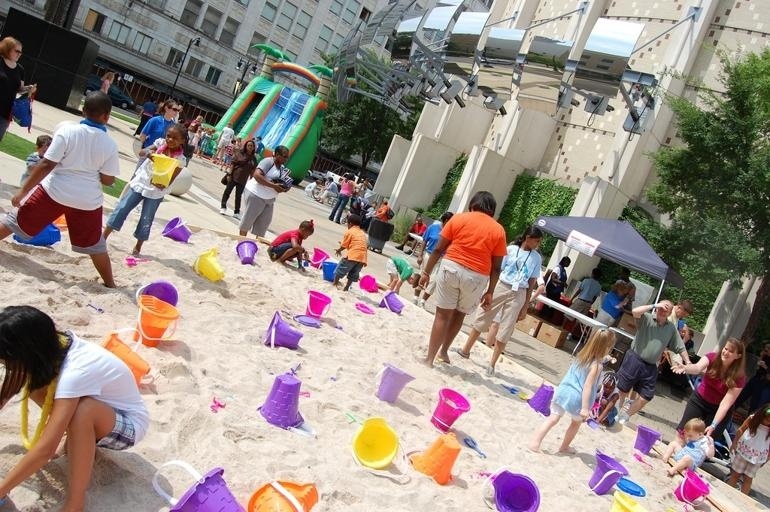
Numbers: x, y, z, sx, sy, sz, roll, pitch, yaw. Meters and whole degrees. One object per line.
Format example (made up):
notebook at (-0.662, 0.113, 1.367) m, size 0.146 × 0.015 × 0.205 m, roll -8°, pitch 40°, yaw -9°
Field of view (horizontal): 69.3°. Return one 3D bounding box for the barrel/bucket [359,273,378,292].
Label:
barrel/bucket at (-0.318, 0.544, 10.973) m, size 0.290 × 0.334 × 0.238 m, roll -10°, pitch 6°, yaw 6°

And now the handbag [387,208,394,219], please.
handbag at (0.162, -1.478, 19.862) m, size 0.134 × 0.379 × 0.259 m, roll 7°, pitch 3°, yaw -9°

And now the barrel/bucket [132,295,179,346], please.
barrel/bucket at (-2.669, 0.767, 6.465) m, size 0.477 × 0.444 × 0.451 m, roll 19°, pitch 5°, yaw -2°

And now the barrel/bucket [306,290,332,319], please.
barrel/bucket at (-1.040, 0.714, 8.625) m, size 0.383 × 0.317 × 0.395 m, roll 22°, pitch -3°, yaw 1°

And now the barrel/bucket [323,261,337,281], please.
barrel/bucket at (-1.044, 0.288, 10.465) m, size 0.309 × 0.325 × 0.323 m, roll 0°, pitch 4°, yaw 0°

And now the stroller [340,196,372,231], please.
stroller at (-0.945, -1.669, 20.299) m, size 1.091 × 1.729 × 1.367 m, roll 2°, pitch -4°, yaw -15°

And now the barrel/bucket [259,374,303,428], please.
barrel/bucket at (-1.066, 1.535, 5.987) m, size 0.475 × 0.510 × 0.247 m, roll 18°, pitch 4°, yaw -12°

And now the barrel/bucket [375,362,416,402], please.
barrel/bucket at (0.133, 1.581, 7.230) m, size 0.446 × 0.425 × 0.457 m, roll 28°, pitch 7°, yaw -4°

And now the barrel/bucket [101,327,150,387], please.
barrel/bucket at (-2.704, 1.065, 5.830) m, size 0.571 × 0.414 × 0.242 m, roll 21°, pitch 5°, yaw 9°

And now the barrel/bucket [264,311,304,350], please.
barrel/bucket at (-1.324, 1.005, 7.399) m, size 0.522 × 0.588 × 0.455 m, roll 8°, pitch 12°, yaw -6°

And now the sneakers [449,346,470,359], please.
sneakers at (1.231, 1.625, 9.386) m, size 0.293 × 0.121 × 0.137 m, roll 30°, pitch -9°, yaw 21°

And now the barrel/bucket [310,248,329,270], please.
barrel/bucket at (-1.362, 0.036, 11.269) m, size 0.343 × 0.317 × 0.402 m, roll 30°, pitch 14°, yaw 8°

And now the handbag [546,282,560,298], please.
handbag at (4.275, 0.876, 14.240) m, size 0.338 × 0.489 × 0.264 m, roll -1°, pitch 6°, yaw 4°

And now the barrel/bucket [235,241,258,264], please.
barrel/bucket at (-2.380, -0.098, 9.602) m, size 0.342 × 0.367 × 0.263 m, roll 0°, pitch 37°, yaw -17°

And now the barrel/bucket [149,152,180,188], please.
barrel/bucket at (-3.174, -1.245, 8.115) m, size 0.413 × 0.452 × 0.439 m, roll 9°, pitch 7°, yaw -1°

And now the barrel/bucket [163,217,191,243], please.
barrel/bucket at (-3.486, -0.378, 9.433) m, size 0.316 × 0.398 × 0.430 m, roll 38°, pitch -25°, yaw -25°

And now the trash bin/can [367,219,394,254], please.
trash bin/can at (-0.196, -0.640, 18.037) m, size 0.738 × 1.082 × 0.735 m, roll 13°, pitch 19°, yaw -9°

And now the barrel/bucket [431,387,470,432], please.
barrel/bucket at (0.801, 1.929, 6.953) m, size 0.362 × 0.535 × 0.333 m, roll 19°, pitch 4°, yaw -2°

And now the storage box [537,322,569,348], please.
storage box at (3.938, 1.876, 13.218) m, size 0.580 × 0.399 × 0.605 m, roll 22°, pitch 12°, yaw 18°
